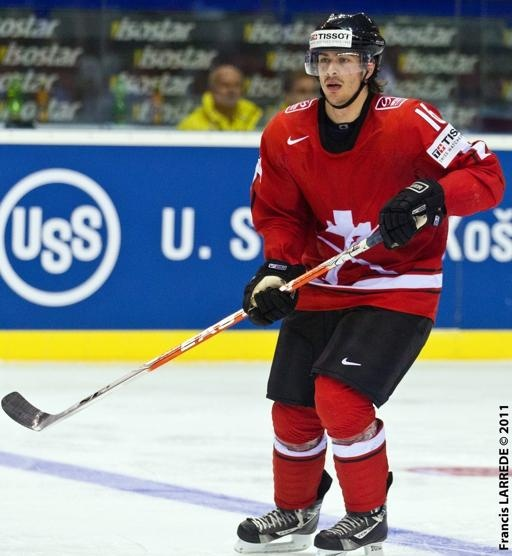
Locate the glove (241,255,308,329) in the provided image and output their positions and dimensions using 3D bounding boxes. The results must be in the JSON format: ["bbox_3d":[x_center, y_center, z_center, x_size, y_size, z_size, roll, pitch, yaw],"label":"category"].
[{"bbox_3d":[0.065,0.031,1.793,0.165,0.158,0.085,4,-37,43],"label":"glove"}]

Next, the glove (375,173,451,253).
[{"bbox_3d":[0.353,-0.136,1.614,0.189,0.120,0.075,-35,35,-7],"label":"glove"}]

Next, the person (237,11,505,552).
[{"bbox_3d":[0.270,0.006,1.796,0.639,1.319,0.446,0,3,-2],"label":"person"}]

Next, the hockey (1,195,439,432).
[{"bbox_3d":[-0.311,0.166,3.072,2.750,0.236,0.264,-21,-42,27],"label":"hockey"}]

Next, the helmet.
[{"bbox_3d":[0.225,-0.582,1.892,0.183,0.120,0.207,0,-6,35],"label":"helmet"}]
